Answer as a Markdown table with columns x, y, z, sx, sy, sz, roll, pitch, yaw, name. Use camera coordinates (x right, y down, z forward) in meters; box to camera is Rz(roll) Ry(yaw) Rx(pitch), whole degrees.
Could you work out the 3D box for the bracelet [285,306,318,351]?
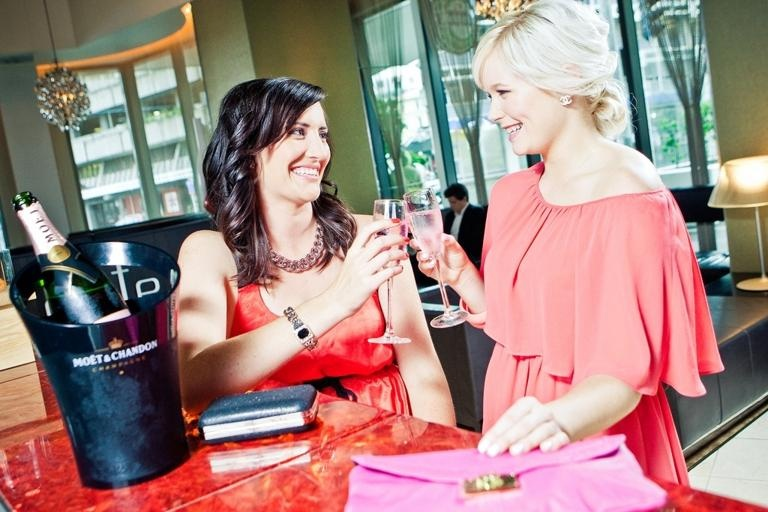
| x | y | z | sx | sy | sz | roll | pitch | yaw | name |
| --- | --- | --- | --- | --- | --- | --- | --- | --- | --- |
| -0.208 | 0.183 | 1.377 | 0.047 | 0.091 | 0.087 | -36 | -8 | -9 | bracelet |
